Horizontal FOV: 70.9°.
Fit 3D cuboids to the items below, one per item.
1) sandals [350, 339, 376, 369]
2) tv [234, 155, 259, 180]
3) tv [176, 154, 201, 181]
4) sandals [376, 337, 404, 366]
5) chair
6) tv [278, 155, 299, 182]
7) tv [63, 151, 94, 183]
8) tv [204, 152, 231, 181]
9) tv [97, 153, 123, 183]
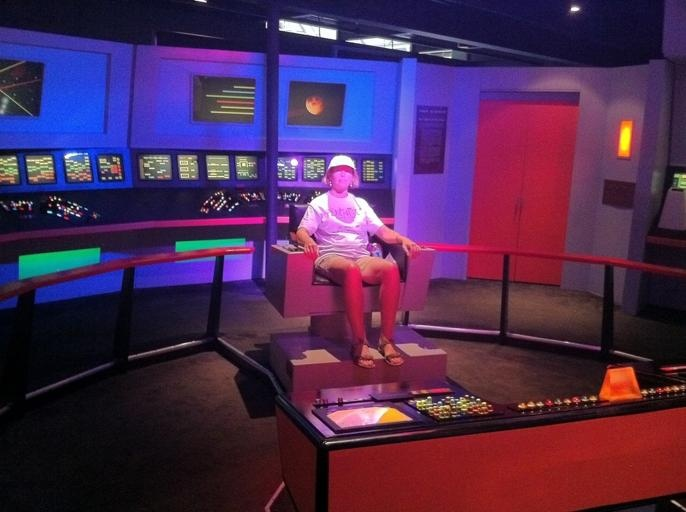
[{"bbox_3d":[0.138,0.687,3.375,0.166,0.199,0.122,0,13,-2],"label":"sandals"},{"bbox_3d":[-1.234,-1.105,6.026,0.351,0.333,0.045,-1,6,-31],"label":"tv"},{"bbox_3d":[-1.875,-1.052,5.749,0.347,0.397,0.044,-1,-2,-32],"label":"tv"},{"bbox_3d":[0.340,0.690,3.424,0.189,0.198,0.151,2,13,7],"label":"sandals"},{"bbox_3d":[0.073,0.373,3.937,1.140,1.245,1.179,0,-1,-21],"label":"chair"},{"bbox_3d":[-0.725,-1.119,6.150,0.355,0.313,0.111,4,-8,-13],"label":"tv"},{"bbox_3d":[-2.883,-0.947,5.183,0.372,0.467,0.052,-3,-4,-36],"label":"tv"},{"bbox_3d":[-1.561,-1.087,5.885,0.377,0.390,0.051,-2,1,-31],"label":"tv"},{"bbox_3d":[-2.621,-0.973,5.351,0.355,0.375,0.041,3,-9,-40],"label":"tv"}]
